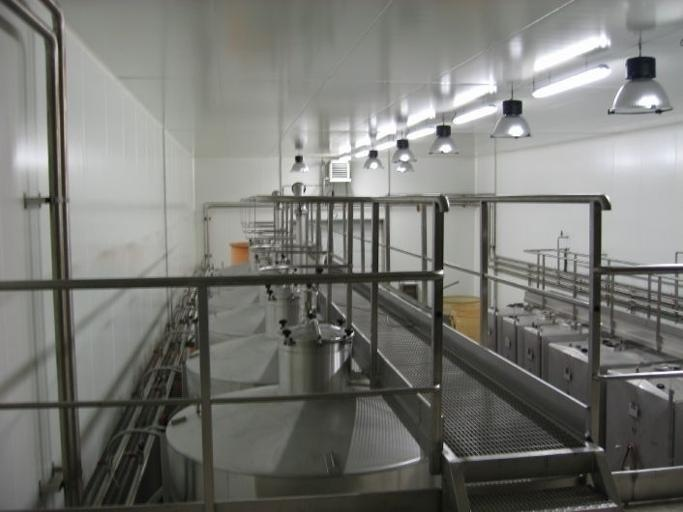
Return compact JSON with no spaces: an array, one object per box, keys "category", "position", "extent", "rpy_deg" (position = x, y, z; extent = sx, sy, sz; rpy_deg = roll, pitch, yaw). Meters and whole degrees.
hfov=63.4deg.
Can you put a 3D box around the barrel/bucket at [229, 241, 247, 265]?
[{"category":"barrel/bucket","position":[-1.910,-0.038,10.363],"extent":[0.303,0.371,0.840],"rpy_deg":[-2,6,-9]}]
